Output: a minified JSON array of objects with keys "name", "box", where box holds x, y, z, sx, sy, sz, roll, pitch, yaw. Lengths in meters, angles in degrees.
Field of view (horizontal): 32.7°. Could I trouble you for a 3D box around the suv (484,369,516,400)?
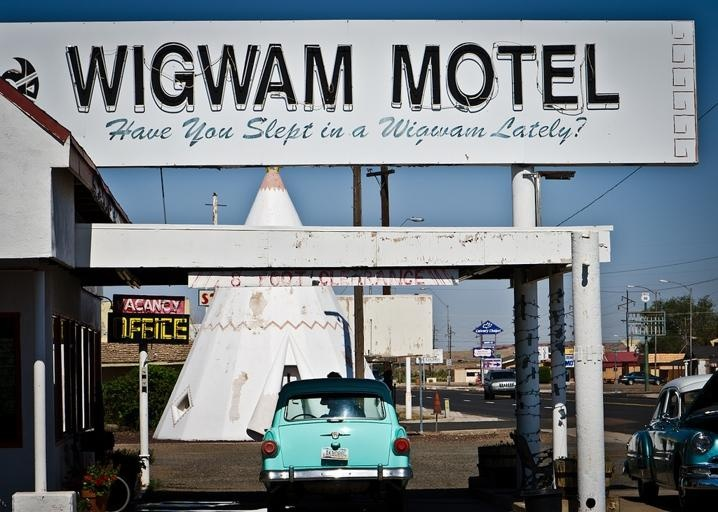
[{"name":"suv","box":[6.375,5.873,55.759,1.299,1.473,3.452,-2,-9,4]}]
